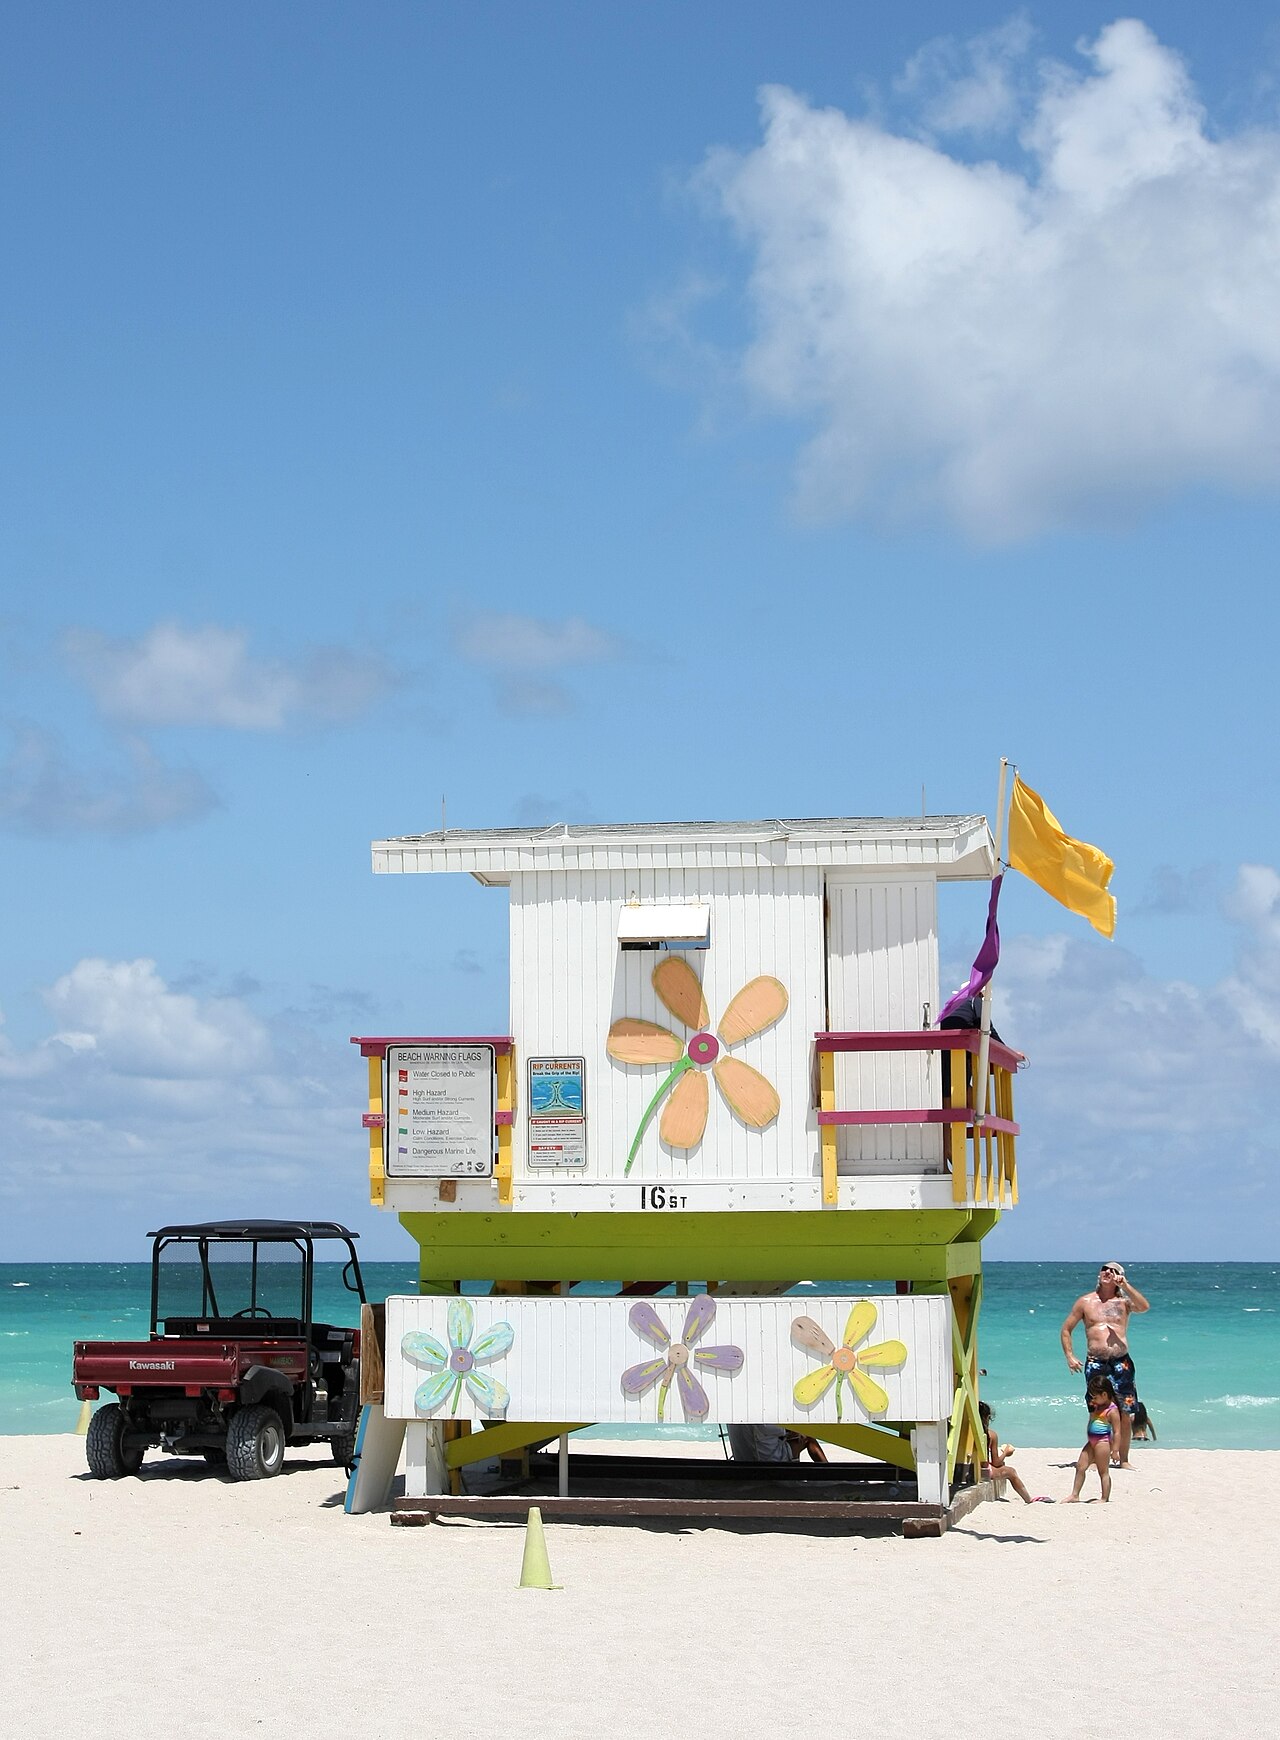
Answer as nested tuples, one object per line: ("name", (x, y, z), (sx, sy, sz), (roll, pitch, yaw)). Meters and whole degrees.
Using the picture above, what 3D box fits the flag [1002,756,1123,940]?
("flag", (2.569, -0.107, 17.554), (1.000, 1.250, 0.159), (5, 20, 1))
